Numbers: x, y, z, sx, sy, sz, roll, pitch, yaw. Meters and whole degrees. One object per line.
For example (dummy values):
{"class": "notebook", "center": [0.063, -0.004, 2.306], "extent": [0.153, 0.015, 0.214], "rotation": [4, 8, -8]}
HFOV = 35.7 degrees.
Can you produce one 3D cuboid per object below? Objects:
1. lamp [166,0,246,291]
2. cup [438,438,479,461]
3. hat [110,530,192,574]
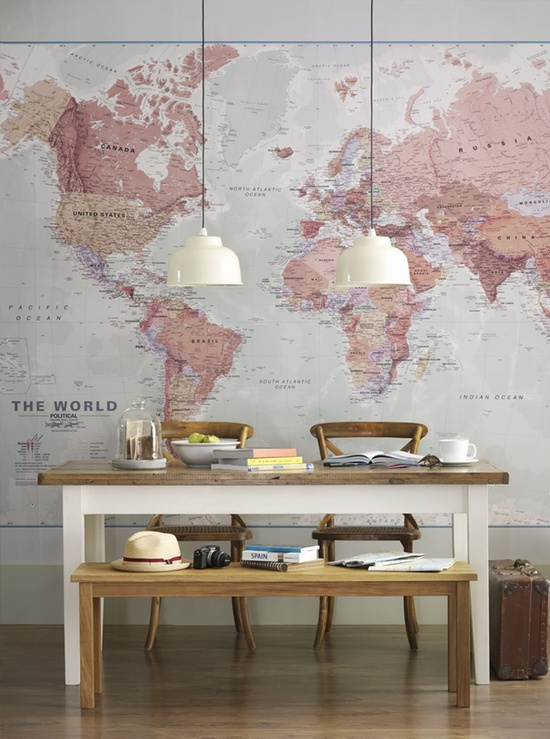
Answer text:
{"class": "lamp", "center": [-0.311, -1.086, 3.767], "extent": [0.321, 1.588, 1.135], "rotation": [-1, -2, -5]}
{"class": "cup", "center": [0.744, 0.327, 3.473], "extent": [0.180, 0.092, 0.126], "rotation": [2, -5, -26]}
{"class": "hat", "center": [-0.396, 0.621, 2.942], "extent": [0.187, 0.057, 0.158], "rotation": [2, -2, -34]}
